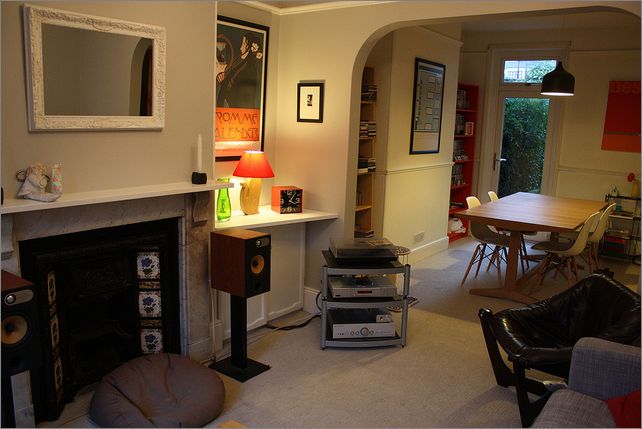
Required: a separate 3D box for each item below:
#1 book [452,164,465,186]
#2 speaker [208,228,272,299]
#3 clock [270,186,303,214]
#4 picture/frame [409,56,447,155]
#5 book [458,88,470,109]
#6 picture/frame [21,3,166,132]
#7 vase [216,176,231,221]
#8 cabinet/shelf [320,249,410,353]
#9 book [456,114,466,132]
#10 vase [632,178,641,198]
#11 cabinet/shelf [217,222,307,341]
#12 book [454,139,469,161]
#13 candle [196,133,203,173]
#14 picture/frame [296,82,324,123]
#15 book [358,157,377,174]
[{"bbox_3d":[2.404,-0.674,8.092,0.119,0.342,0.371,1,7,32],"label":"book"},{"bbox_3d":[-0.711,0.408,4.027,0.648,0.707,0.398,5,6,25],"label":"speaker"},{"bbox_3d":[-0.374,-0.159,4.893,0.289,0.285,0.273,1,4,-21],"label":"clock"},{"bbox_3d":[1.468,-1.540,6.426,0.059,1.659,1.404,6,6,32],"label":"picture/frame"},{"bbox_3d":[2.441,-1.954,7.863,0.198,0.326,0.532,7,16,17],"label":"book"},{"bbox_3d":[-1.685,-1.064,3.323,0.059,0.836,0.998,8,11,40],"label":"picture/frame"},{"bbox_3d":[-0.950,-0.108,4.458,0.129,0.297,0.219,0,15,-7],"label":"vase"},{"bbox_3d":[0.434,0.812,4.710,0.760,0.770,0.922,1,13,1],"label":"cabinet/shelf"},{"bbox_3d":[2.416,-1.543,7.928,0.117,0.332,0.446,11,18,31],"label":"book"},{"bbox_3d":[4.802,-0.400,6.997,0.144,0.288,0.216,11,18,31],"label":"vase"},{"bbox_3d":[-0.590,0.638,4.386,0.352,0.954,1.026,4,11,32],"label":"cabinet/shelf"},{"bbox_3d":[2.453,-1.119,8.069,0.194,0.360,0.377,-2,6,29],"label":"book"},{"bbox_3d":[-1.041,-0.520,3.937,0.055,0.301,0.161,-2,15,-15],"label":"candle"},{"bbox_3d":[-0.107,-1.178,4.844,0.404,0.541,0.058,5,6,26],"label":"picture/frame"},{"bbox_3d":[0.577,-0.607,5.748,0.180,0.114,0.232,4,11,31],"label":"book"}]
